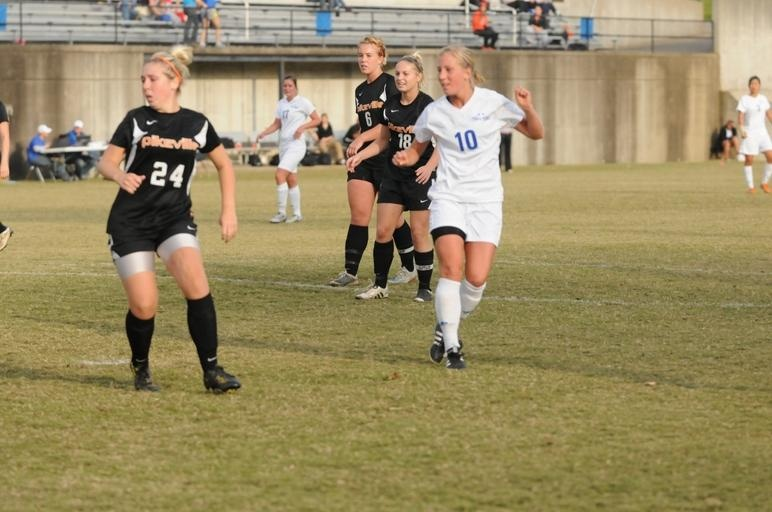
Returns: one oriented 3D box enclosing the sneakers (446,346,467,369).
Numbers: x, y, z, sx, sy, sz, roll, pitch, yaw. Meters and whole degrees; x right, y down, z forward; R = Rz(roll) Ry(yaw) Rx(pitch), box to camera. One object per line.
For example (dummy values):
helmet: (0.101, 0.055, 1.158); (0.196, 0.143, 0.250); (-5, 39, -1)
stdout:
sneakers: (0.568, 0.833, 9.292); (0.164, 0.180, 0.174); (1, 7, 5)

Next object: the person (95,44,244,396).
person: (-1.676, -0.273, 8.694); (1.018, 2.676, 0.451); (-1, 6, -13)

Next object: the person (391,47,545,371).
person: (0.669, -0.407, 9.366); (1.024, 2.616, 0.612); (0, 6, 1)

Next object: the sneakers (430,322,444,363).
sneakers: (0.413, 0.724, 9.380); (0.127, 0.316, 0.144); (3, 8, -5)

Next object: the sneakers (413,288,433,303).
sneakers: (0.369, 0.409, 11.519); (0.169, 0.103, 0.263); (-1, 1, 9)

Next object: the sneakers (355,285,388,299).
sneakers: (-0.127, 0.374, 11.535); (0.364, 0.123, 0.127); (-1, 1, -16)

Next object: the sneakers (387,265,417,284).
sneakers: (0.205, 0.236, 12.548); (0.378, 0.140, 0.130); (-2, 2, -24)

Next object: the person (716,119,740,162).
person: (12.272, -4.159, 40.659); (0.649, 1.444, 3.981); (2, 7, 16)

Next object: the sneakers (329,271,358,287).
sneakers: (-0.458, 0.259, 12.073); (0.361, 0.136, 0.128); (-1, 2, -13)

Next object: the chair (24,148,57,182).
chair: (-8.582, -2.274, 28.136); (0.673, 0.839, 2.925); (-2, 7, -16)

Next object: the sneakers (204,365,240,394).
sneakers: (-1.299, 0.965, 8.734); (0.327, 0.170, 0.169); (0, 13, 6)

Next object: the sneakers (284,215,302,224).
sneakers: (-1.498, -0.584, 18.025); (0.101, 0.098, 0.271); (2, 6, 30)
